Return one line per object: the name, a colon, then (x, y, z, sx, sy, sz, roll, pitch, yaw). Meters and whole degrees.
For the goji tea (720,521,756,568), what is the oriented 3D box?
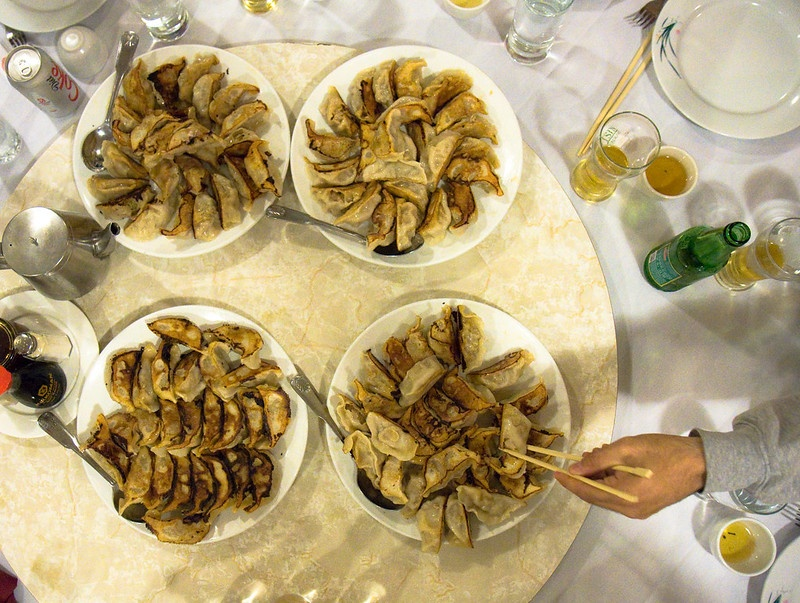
goji tea: (1.742, 1.241, 3.628, 0.169, 0.096, 0.218, 30, 94, 12)

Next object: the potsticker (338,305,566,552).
potsticker: (0.237, 0.576, 3.424, 1.206, 0.209, 1.200, -29, 82, -6)

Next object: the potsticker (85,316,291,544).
potsticker: (-1.003, 0.662, 3.667, 0.966, 0.220, 1.157, 25, 89, -1)

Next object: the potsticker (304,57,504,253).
potsticker: (0.029, -0.728, 3.533, 0.851, 0.287, 1.089, -13, 86, 2)
